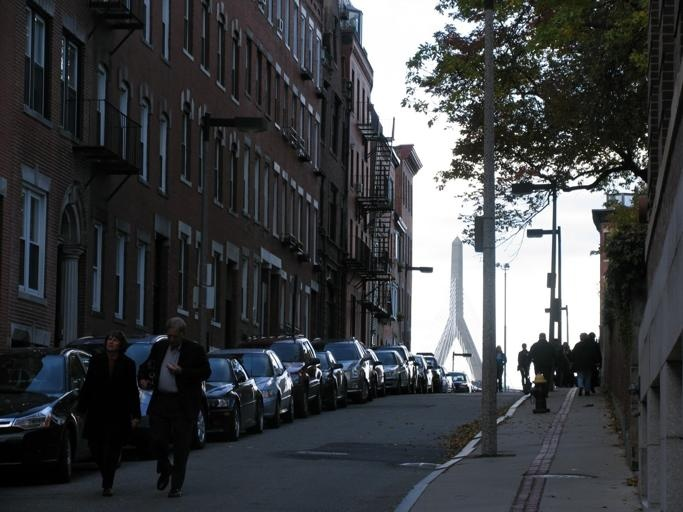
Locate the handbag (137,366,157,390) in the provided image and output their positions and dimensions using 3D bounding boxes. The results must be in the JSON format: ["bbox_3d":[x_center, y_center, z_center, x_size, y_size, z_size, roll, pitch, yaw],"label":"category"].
[{"bbox_3d":[-2.671,1.663,14.370,0.262,0.479,0.231,1,-4,1],"label":"handbag"}]

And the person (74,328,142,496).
[{"bbox_3d":[-3.186,2.137,14.413,0.827,2.222,0.389,1,-9,-16],"label":"person"}]

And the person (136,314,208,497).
[{"bbox_3d":[-2.244,2.045,14.329,0.914,2.378,0.544,-6,-10,29],"label":"person"}]
